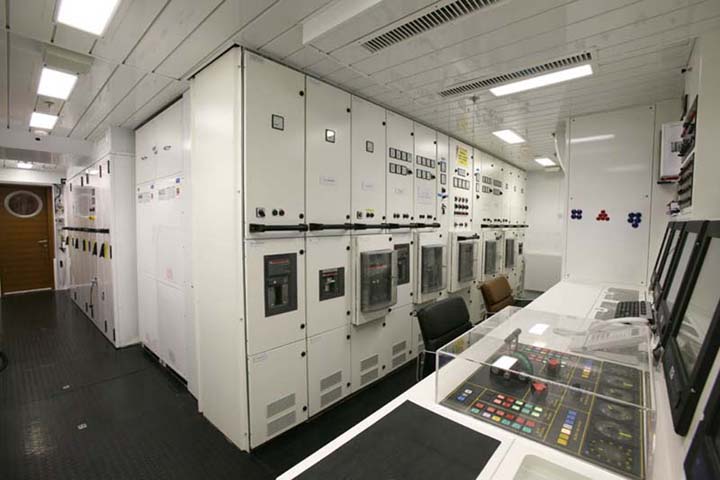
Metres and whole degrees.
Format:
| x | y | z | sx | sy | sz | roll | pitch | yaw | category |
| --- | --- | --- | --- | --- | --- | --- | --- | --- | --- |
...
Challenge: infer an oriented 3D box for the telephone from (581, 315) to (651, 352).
| x | y | z | sx | sy | sz | roll | pitch | yaw | category |
| --- | --- | --- | --- | --- | --- | --- | --- | --- | --- |
| 2.299 | 0.839 | 4.048 | 0.490 | 0.209 | 0.758 | 7 | 8 | 33 | telephone |

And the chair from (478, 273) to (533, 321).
| x | y | z | sx | sy | sz | roll | pitch | yaw | category |
| --- | --- | --- | --- | --- | --- | --- | --- | --- | --- |
| 1.780 | 0.743 | 5.559 | 0.361 | 0.380 | 0.272 | -15 | 8 | -18 | chair |

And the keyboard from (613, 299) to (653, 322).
| x | y | z | sx | sy | sz | roll | pitch | yaw | category |
| --- | --- | --- | --- | --- | --- | --- | --- | --- | --- |
| 2.756 | 0.717 | 4.569 | 0.222 | 0.077 | 0.257 | -7 | 20 | 38 | keyboard |
